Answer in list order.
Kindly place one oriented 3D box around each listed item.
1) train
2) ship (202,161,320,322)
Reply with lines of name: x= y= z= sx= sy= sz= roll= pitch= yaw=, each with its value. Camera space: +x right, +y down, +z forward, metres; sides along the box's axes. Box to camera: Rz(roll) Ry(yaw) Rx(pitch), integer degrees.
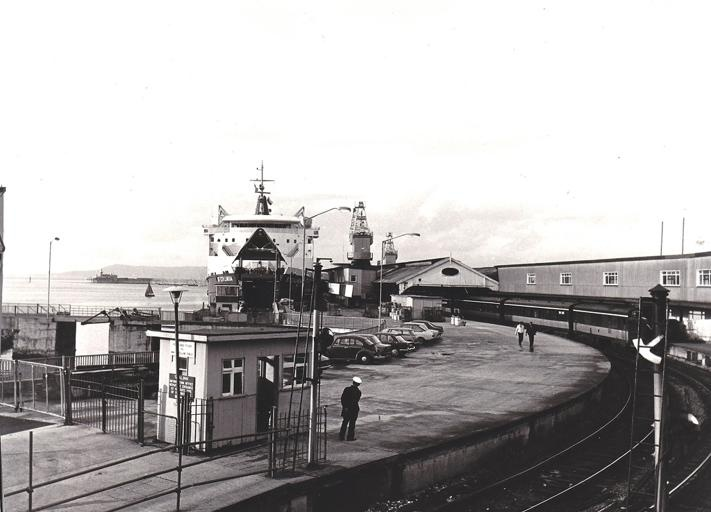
train: x=14.156 y=4.297 z=69.233 sx=2.140 sy=2.597 sz=16.787 roll=-4 pitch=5 yaw=-40
ship: x=-6.523 y=0.215 z=76.621 sx=10.125 sy=17.017 sz=8.879 roll=3 pitch=1 yaw=-18
